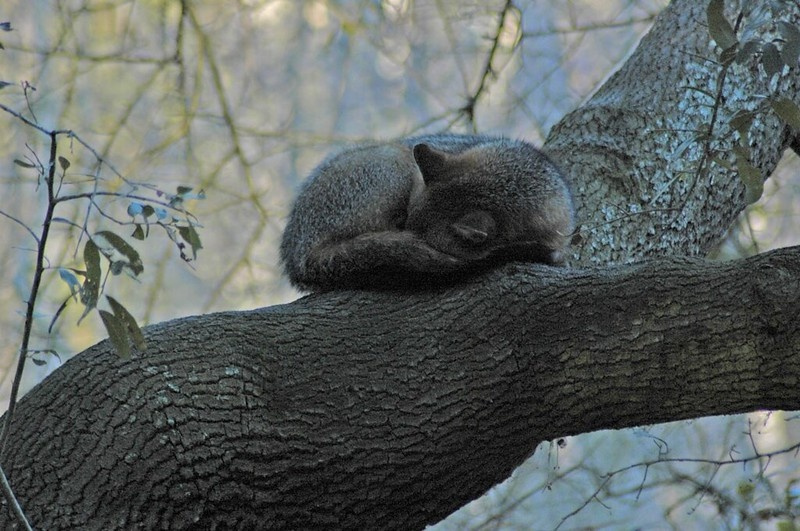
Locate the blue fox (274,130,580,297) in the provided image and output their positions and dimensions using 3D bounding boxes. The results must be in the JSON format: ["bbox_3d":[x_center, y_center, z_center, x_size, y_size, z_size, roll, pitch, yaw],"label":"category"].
[{"bbox_3d":[0.191,-0.375,11.932,1.650,1.082,0.822,-9,-103,14],"label":"blue fox"}]
